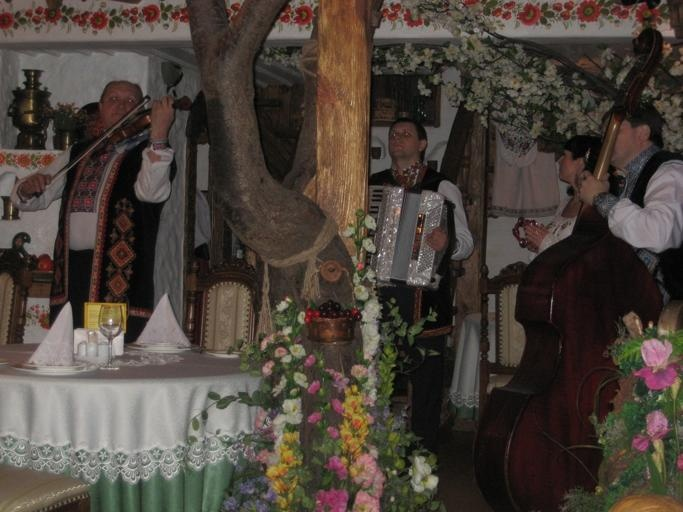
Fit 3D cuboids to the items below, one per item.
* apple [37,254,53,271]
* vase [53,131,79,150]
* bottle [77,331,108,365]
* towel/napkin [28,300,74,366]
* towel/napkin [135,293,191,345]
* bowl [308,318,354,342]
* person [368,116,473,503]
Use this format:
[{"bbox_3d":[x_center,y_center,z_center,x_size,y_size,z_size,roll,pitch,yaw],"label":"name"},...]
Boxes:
[{"bbox_3d":[-2.028,0.050,6.683,0.086,0.109,0.112,5,-10,-13],"label":"apple"},{"bbox_3d":[-1.953,-0.799,6.887,0.137,0.144,0.142,1,2,-4],"label":"vase"},{"bbox_3d":[-1.173,0.422,4.578,0.171,0.175,0.113,0,-2,8],"label":"bottle"},{"bbox_3d":[-1.505,0.399,5.056,0.194,0.321,0.277,14,-3,34],"label":"towel/napkin"},{"bbox_3d":[-0.869,0.368,4.893,0.352,0.318,0.218,2,-5,-8],"label":"towel/napkin"},{"bbox_3d":[-0.036,0.301,3.987,0.180,0.106,0.060,2,-3,-4],"label":"bowl"},{"bbox_3d":[0.465,0.147,5.604,0.584,1.960,1.146,1,-3,7],"label":"person"}]
